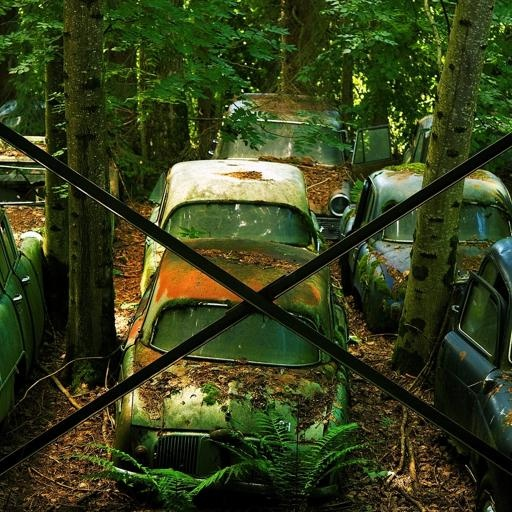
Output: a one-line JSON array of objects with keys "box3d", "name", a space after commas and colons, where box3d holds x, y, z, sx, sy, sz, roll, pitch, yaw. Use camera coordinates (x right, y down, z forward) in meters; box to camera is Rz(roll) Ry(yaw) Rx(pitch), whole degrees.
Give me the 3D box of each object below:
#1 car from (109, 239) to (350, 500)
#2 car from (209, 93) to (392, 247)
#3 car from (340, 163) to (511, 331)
[{"box3d": [-0.155, 0.442, 5.364, 2.043, 1.232, 3.009, 6, 34, 6], "name": "car"}, {"box3d": [0.879, -1.511, 9.884, 2.595, 1.432, 3.048, 0, 29, 0], "name": "car"}, {"box3d": [2.002, -0.283, 7.372, 1.663, 1.231, 2.373, 0, 35, 4], "name": "car"}]
